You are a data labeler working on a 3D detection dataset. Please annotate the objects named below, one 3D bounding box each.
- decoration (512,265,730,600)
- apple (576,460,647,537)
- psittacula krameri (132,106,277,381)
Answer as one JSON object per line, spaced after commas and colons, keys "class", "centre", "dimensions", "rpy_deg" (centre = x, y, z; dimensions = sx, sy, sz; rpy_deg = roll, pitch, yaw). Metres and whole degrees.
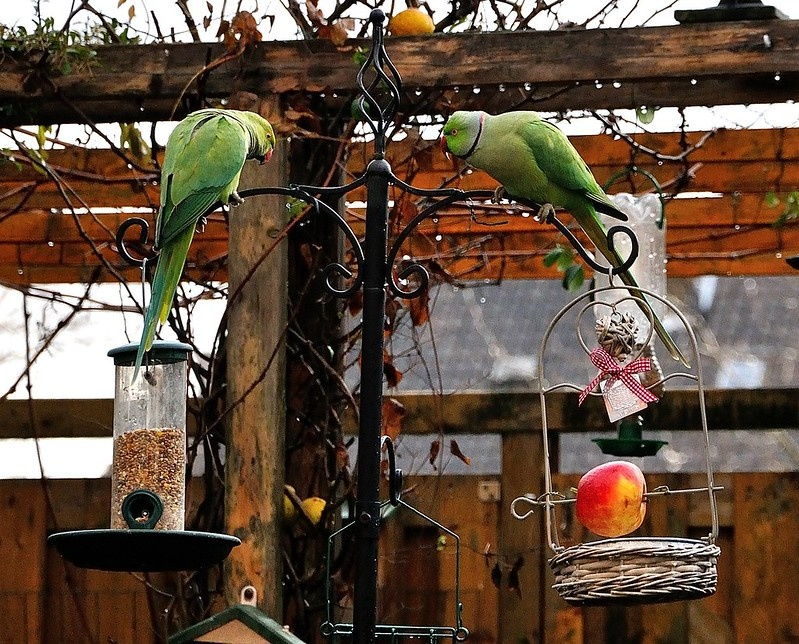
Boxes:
{"class": "decoration", "centre": [0.934, 0.516, 9.922], "dimensions": [0.919, 1.633, 0.799], "rpy_deg": [-6, -16, 11]}
{"class": "apple", "centre": [0.789, 0.706, 8.967], "dimensions": [0.228, 0.293, 0.262], "rpy_deg": [-7, -19, -5]}
{"class": "psittacula krameri", "centre": [-0.773, -0.319, 9.318], "dimensions": [0.563, 1.147, 0.315], "rpy_deg": [1, -12, -11]}
